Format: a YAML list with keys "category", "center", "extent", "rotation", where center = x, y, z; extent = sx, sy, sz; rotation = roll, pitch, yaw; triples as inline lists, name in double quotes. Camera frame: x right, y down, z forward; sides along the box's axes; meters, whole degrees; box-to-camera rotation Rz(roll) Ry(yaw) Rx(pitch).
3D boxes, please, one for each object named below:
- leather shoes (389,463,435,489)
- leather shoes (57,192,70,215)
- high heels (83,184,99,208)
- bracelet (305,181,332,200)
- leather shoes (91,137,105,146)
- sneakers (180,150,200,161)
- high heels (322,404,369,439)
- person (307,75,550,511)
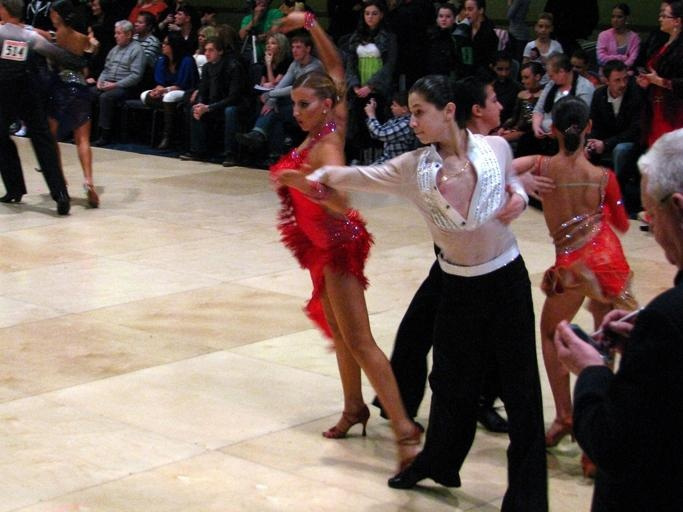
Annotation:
- category: "leather shoes"
  center: [0.342, 1.125, 3.302]
  extent: [0.303, 0.095, 0.103]
  rotation: [-20, 2, 33]
- category: "leather shoes"
  center: [-3.751, -0.714, 8.612]
  extent: [0.172, 0.312, 0.162]
  rotation: [-1, 12, 1]
- category: "high heels"
  center: [-3.536, -0.828, 8.985]
  extent: [0.237, 0.387, 0.151]
  rotation: [-3, 25, -16]
- category: "bracelet"
  center: [-0.109, -0.309, 3.003]
  extent: [0.104, 0.069, 0.092]
  rotation: [-1, 4, 10]
- category: "leather shoes"
  center: [-5.102, -2.368, 13.313]
  extent: [0.206, 0.167, 0.500]
  rotation: [-1, 2, -22]
- category: "sneakers"
  center: [-2.834, -1.886, 12.064]
  extent: [0.468, 0.219, 0.151]
  rotation: [4, 9, 9]
- category: "high heels"
  center: [0.041, 0.993, 3.820]
  extent: [0.405, 0.178, 0.148]
  rotation: [0, 2, -1]
- category: "person"
  center: [0.592, 0.207, 2.979]
  extent: [1.040, 2.063, 0.445]
  rotation: [9, 12, 33]
